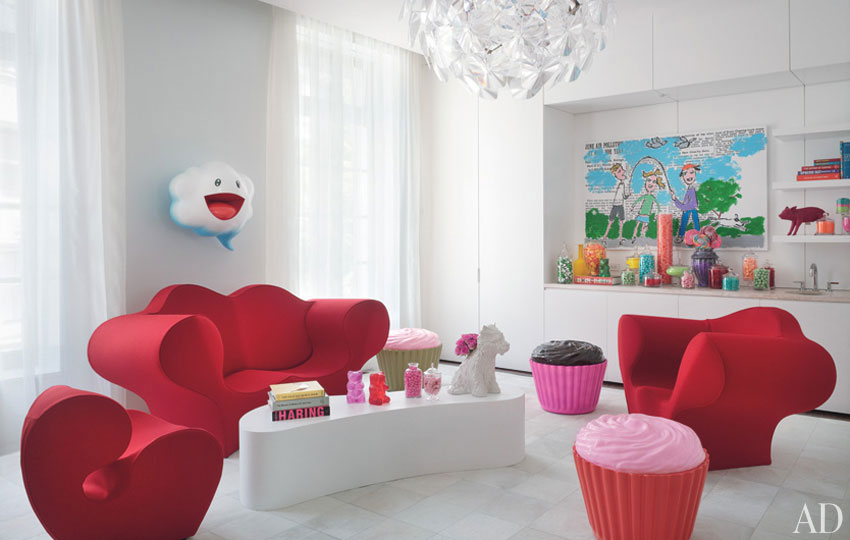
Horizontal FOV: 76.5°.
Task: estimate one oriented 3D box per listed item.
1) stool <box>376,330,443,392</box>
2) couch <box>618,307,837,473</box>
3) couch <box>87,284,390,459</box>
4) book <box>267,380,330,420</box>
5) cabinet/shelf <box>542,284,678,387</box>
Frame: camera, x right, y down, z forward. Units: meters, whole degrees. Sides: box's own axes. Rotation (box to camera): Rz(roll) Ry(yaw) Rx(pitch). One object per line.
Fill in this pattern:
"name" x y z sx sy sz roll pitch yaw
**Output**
"stool" -0.192 0.839 5.105 0.536 0.509 0.547 -4 -6 36
"couch" 2.098 0.753 3.998 1.268 1.175 1.333 0 -4 -10
"couch" -1.391 0.739 3.881 0.533 0.706 1.276 -1 0 36
"book" -0.836 0.869 3.600 0.380 0.166 0.264 -3 11 -16
"cabinet/shelf" 1.717 0.597 4.862 1.007 0.756 0.357 -2 -4 41
